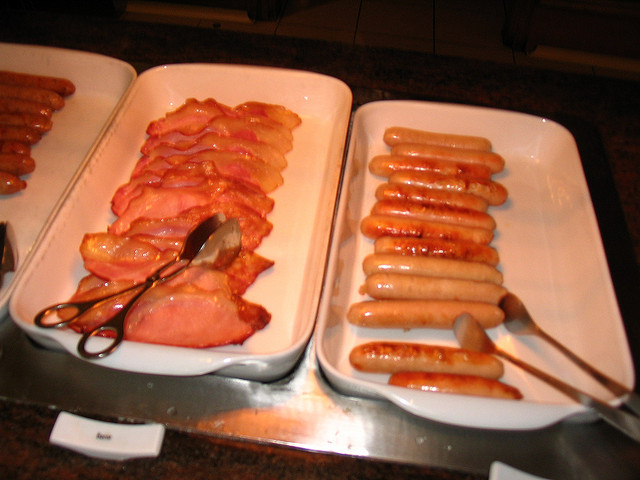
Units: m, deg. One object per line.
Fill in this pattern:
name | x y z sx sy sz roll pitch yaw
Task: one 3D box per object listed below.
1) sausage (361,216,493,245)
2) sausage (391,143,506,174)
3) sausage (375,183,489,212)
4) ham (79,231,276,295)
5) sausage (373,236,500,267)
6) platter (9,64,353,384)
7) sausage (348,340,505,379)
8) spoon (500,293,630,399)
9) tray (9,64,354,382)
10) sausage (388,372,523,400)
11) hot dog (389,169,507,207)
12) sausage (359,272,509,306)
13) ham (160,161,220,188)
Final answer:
sausage | 0.483 -0.083 2.481 0.630 0.169 0.129 2 50 14
sausage | 0.657 -0.399 2.801 0.182 0.193 0.780 6 7 -34
sausage | 0.530 -0.333 2.582 0.555 0.120 0.133 7 64 -5
ham | -0.631 0.101 2.376 0.830 0.128 0.325 4 74 -4
sausage | 0.525 -0.005 2.438 0.530 0.140 0.109 -3 36 2
platter | -0.592 -0.092 2.425 1.089 0.290 1.707 5 54 5
sausage | 0.447 0.507 2.237 0.621 0.156 0.156 3 40 5
spoon | 1.049 0.465 2.269 0.098 0.075 0.533 -43 61 -1
tray | -0.578 -0.112 2.377 1.084 0.288 1.720 6 54 5
sausage | 0.516 0.573 2.102 0.168 0.030 0.213 -17 27 -42
hot dog | 0.609 -0.263 2.633 0.653 0.172 0.188 -2 59 2
sausage | 0.504 0.212 2.382 0.651 0.129 0.166 4 68 -5
ham | -0.616 -0.314 2.521 0.230 0.064 0.139 -3 49 -3
